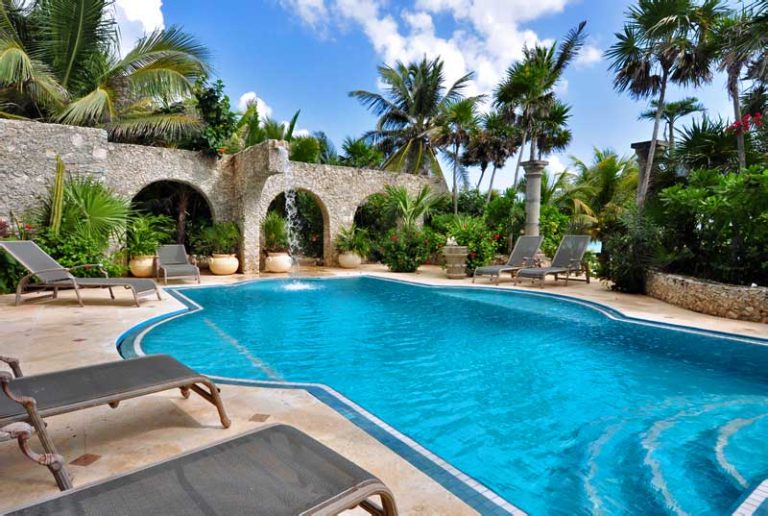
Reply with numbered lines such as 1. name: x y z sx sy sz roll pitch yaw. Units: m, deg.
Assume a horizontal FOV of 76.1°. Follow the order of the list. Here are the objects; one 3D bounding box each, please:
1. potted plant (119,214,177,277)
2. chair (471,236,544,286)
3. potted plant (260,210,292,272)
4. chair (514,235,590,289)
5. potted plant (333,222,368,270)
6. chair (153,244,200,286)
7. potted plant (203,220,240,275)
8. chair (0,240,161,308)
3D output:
1. potted plant: -6.588 -0.232 13.658 0.907 1.402 1.221 -1 3 -11
2. chair: 3.309 0.030 12.925 2.078 1.144 0.884 -4 6 -41
3. potted plant: -3.796 -0.506 17.522 0.998 1.925 1.131 -9 9 -33
4. chair: 4.547 0.046 12.842 1.310 1.299 2.499 5 3 42
5. potted plant: -1.020 -0.401 17.267 0.905 1.524 1.384 5 4 33
6. chair: -5.214 0.149 12.330 0.824 0.849 1.338 -4 9 -34
7. potted plant: -4.856 -0.341 14.921 1.020 1.629 1.706 2 3 -19
8. chair: -6.060 0.401 9.529 3.324 1.432 1.404 2 3 -3
